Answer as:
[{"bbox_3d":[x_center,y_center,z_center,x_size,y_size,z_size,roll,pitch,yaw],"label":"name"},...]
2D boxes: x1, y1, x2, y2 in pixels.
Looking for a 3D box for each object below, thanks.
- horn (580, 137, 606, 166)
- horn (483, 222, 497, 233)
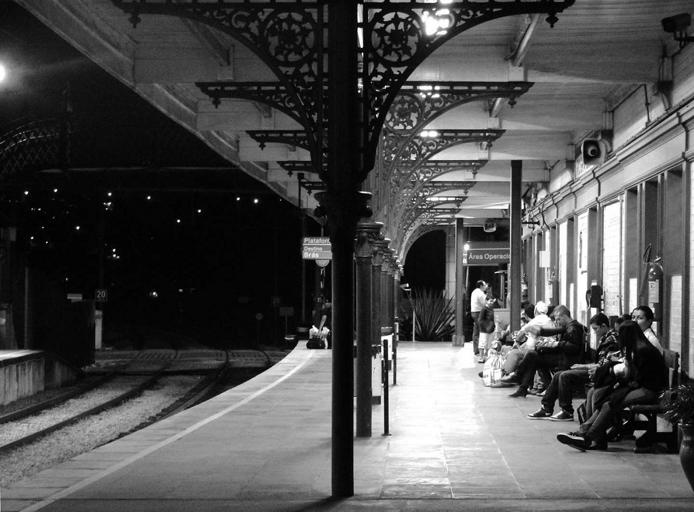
[{"bbox_3d":[5.322,-2.260,18.442,0.427,0.575,0.506,4,4,27],"label":"horn"},{"bbox_3d":[5.863,-1.179,34.936,0.571,0.587,0.449,0,-8,1],"label":"horn"}]
